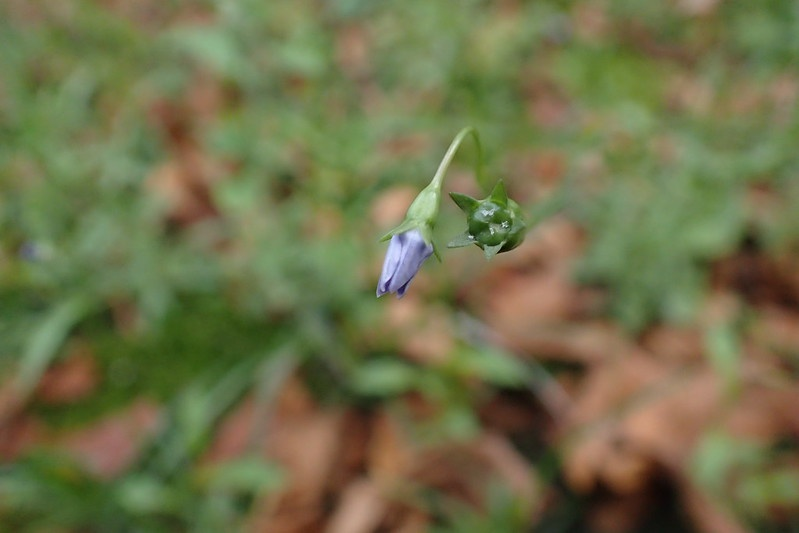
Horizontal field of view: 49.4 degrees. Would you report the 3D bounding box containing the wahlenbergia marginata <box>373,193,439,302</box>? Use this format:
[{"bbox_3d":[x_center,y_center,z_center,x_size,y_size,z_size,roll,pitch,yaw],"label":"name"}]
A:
[{"bbox_3d":[0.020,-0.045,1.961,0.111,0.146,0.252,17,83,24],"label":"wahlenbergia marginata"}]

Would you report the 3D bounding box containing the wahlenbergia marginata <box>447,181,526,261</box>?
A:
[{"bbox_3d":[0.204,-0.093,2.015,0.172,0.162,0.157,5,64,6],"label":"wahlenbergia marginata"}]
